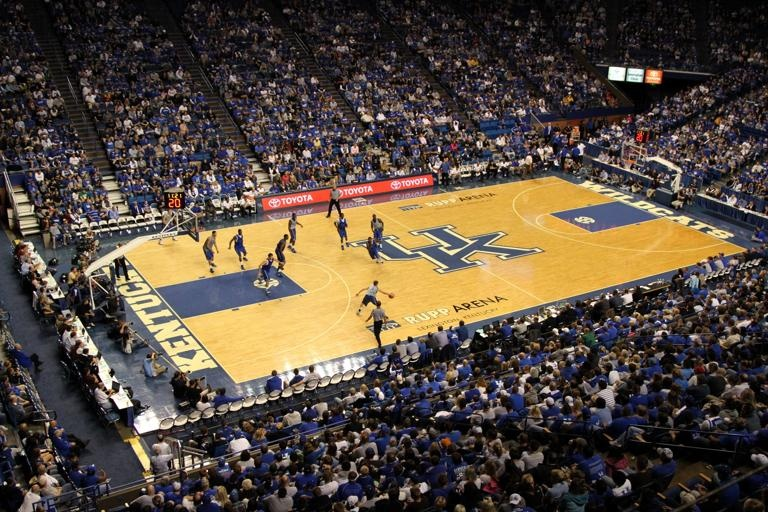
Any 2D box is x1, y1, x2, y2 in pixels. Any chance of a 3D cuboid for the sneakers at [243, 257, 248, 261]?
[{"bbox_3d":[-8.003,0.170,41.807,0.236,0.221,0.099,-22,52,-29],"label":"sneakers"}]
